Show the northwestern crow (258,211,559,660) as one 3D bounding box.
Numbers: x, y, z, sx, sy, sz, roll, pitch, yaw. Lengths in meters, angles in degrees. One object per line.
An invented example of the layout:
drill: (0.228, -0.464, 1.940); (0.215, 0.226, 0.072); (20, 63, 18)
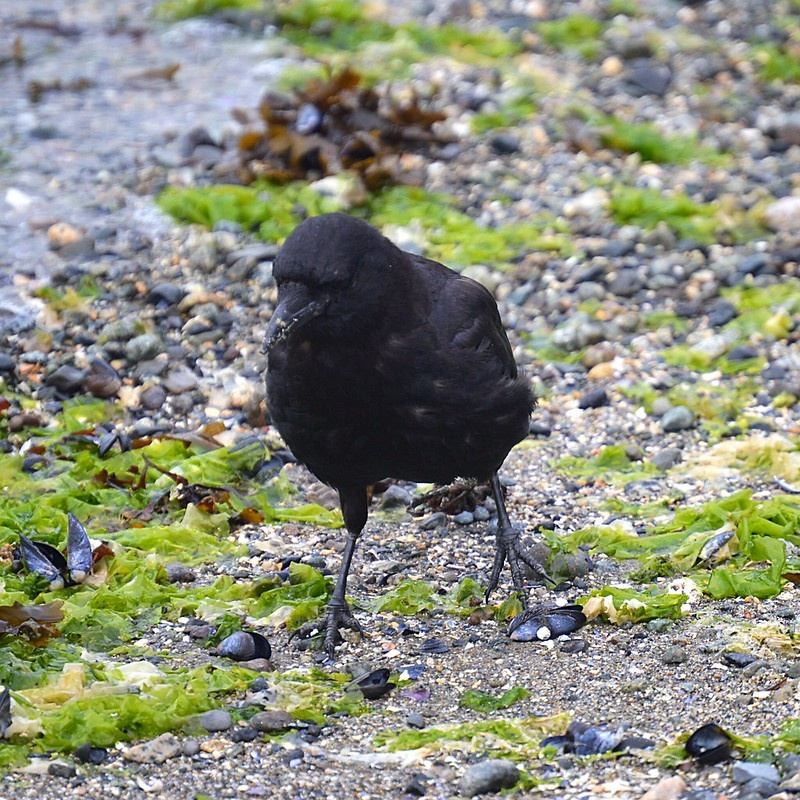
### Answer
northwestern crow: (-0.048, -0.141, 4.580); (1.180, 1.179, 0.531); (-5, 23, -32)
